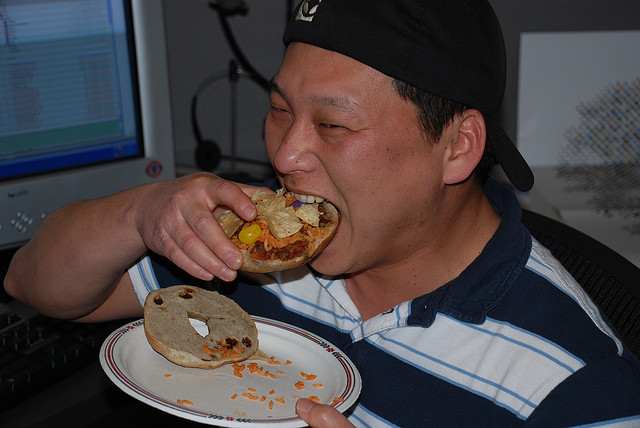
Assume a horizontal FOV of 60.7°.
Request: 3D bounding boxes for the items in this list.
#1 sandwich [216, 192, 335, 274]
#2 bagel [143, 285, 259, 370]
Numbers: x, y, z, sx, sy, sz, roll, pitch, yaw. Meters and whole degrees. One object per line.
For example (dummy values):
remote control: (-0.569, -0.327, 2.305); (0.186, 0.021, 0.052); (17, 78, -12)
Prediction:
sandwich: (-0.179, 0.075, 2.378); (0.395, 0.180, 0.360); (7, 46, 22)
bagel: (-0.514, 0.488, 2.346); (0.540, 0.089, 0.489); (25, 22, 9)
